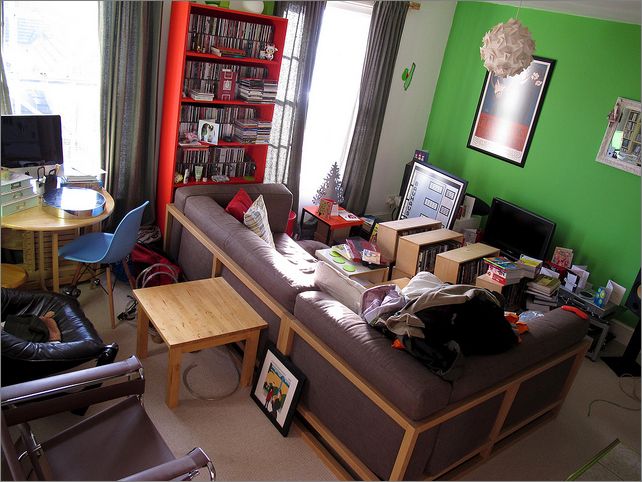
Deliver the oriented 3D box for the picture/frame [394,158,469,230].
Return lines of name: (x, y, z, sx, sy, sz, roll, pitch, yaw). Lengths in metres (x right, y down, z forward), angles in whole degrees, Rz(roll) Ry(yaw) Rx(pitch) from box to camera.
picture/frame: (1.407, -0.561, 5.696, 0.699, 0.818, 0.047, 24, 53, 15)

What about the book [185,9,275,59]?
book: (-0.888, -2.055, 4.478, 0.929, 0.359, 0.092, -9, 24, -39)

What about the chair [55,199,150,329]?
chair: (-1.916, 0.122, 3.925, 0.718, 1.006, 0.616, 8, 21, 1)

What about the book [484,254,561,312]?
book: (2.136, 0.449, 4.695, 0.519, 0.475, 0.184, -17, 34, -36)

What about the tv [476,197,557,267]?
tv: (2.368, -0.093, 5.301, 0.202, 0.498, 0.684, -6, 29, -36)

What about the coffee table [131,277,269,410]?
coffee table: (-0.982, 0.851, 3.655, 0.920, 0.700, 0.926, 0, 34, -34)

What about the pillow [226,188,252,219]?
pillow: (-0.794, -0.357, 4.296, 0.084, 0.263, 0.283, -17, 51, 28)

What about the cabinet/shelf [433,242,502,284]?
cabinet/shelf: (1.661, 0.295, 5.026, 0.739, 0.393, 0.298, -13, 24, -34)

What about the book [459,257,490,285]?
book: (1.681, 0.340, 4.852, 0.301, 0.104, 0.304, -1, 24, -15)

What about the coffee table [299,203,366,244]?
coffee table: (0.142, -0.229, 5.498, 0.552, 0.552, 0.552, -14, 42, -39)

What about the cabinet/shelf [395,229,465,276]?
cabinet/shelf: (1.180, 0.144, 4.931, 0.403, 0.358, 0.165, -25, 40, -34)

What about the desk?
desk: (-2.276, -0.018, 3.783, 0.820, 0.594, 0.829, 19, 22, 29)

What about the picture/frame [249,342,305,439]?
picture/frame: (-0.310, 1.116, 3.284, 0.040, 0.596, 0.505, 0, 23, -40)
